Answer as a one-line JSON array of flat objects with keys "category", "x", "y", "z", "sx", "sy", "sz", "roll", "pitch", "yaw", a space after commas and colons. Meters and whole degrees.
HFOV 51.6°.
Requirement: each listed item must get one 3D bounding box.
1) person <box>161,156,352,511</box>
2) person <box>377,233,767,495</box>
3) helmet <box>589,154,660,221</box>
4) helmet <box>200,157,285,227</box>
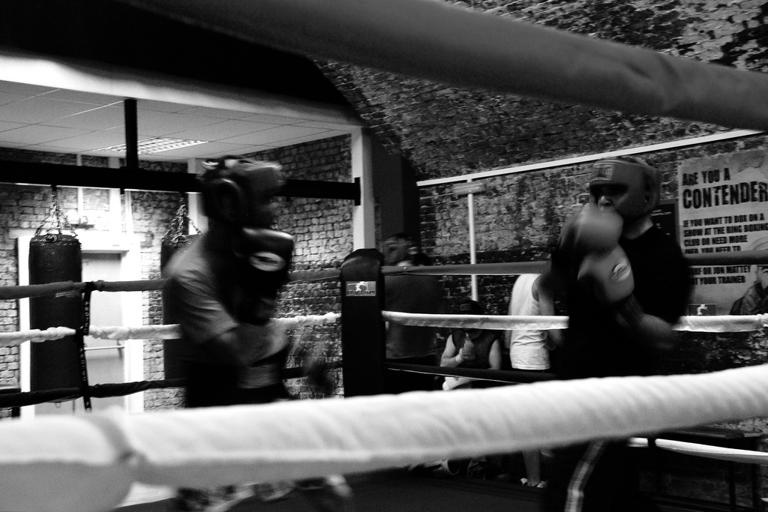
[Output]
[{"category": "person", "x": -0.385, "y": 0.274, "z": 2.302, "sx": 0.514, "sy": 1.126, "sz": 0.575, "roll": -4, "pitch": 5, "yaw": 7}, {"category": "person", "x": 0.658, "y": 0.363, "z": 2.604, "sx": 1.574, "sy": 0.709, "sz": 0.456, "roll": -3, "pitch": -22, "yaw": 23}, {"category": "helmet", "x": 0.679, "y": -0.204, "z": 2.309, "sx": 0.203, "sy": 0.140, "sz": 0.164, "roll": 7, "pitch": -5, "yaw": -38}, {"category": "helmet", "x": -0.385, "y": -0.193, "z": 2.303, "sx": 0.273, "sy": 0.176, "sz": 0.208, "roll": -5, "pitch": 9, "yaw": -5}]
